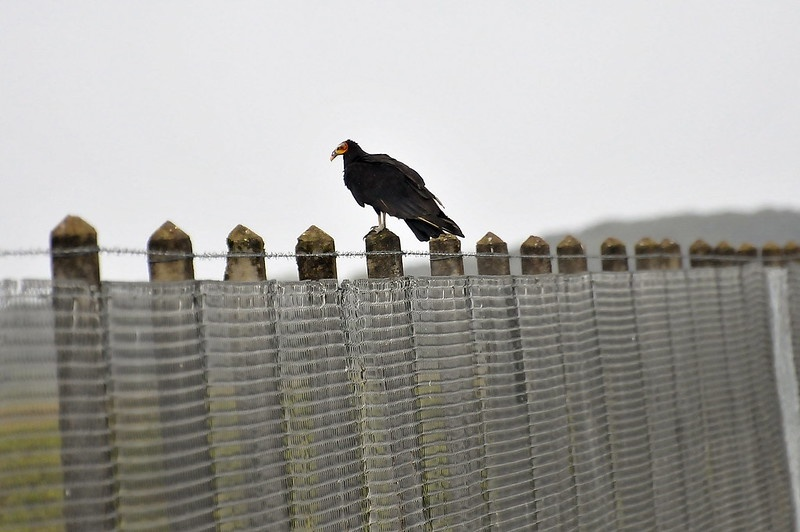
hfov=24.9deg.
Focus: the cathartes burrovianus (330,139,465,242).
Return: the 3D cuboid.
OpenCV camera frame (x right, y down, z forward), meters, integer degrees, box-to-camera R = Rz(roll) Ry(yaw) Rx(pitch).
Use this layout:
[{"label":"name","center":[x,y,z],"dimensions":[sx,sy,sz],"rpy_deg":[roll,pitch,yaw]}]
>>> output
[{"label":"cathartes burrovianus","center":[-0.050,-0.676,16.162],"dimensions":[1.373,0.818,0.481],"rpy_deg":[5,5,31]}]
